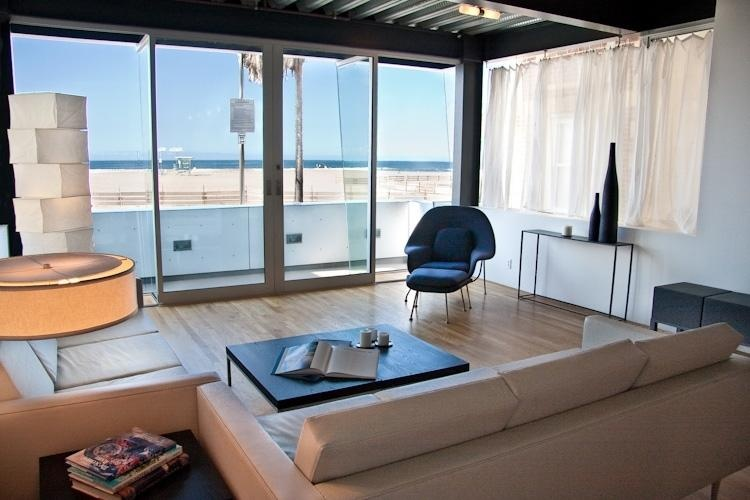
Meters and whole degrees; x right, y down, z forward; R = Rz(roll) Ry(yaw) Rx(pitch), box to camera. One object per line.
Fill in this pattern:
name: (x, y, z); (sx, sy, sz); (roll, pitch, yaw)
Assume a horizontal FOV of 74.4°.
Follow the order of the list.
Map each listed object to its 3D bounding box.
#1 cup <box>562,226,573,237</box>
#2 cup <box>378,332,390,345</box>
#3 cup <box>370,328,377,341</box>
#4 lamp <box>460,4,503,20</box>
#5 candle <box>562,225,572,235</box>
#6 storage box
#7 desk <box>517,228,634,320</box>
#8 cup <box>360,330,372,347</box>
cup: (2.246, -0.208, 5.766); (0.096, 0.128, 0.204); (8, 12, 14)
cup: (0.065, 0.674, 3.725); (0.086, 0.077, 0.087); (2, 8, 0)
cup: (-0.013, 0.656, 3.788); (0.071, 0.086, 0.093); (-1, 9, -7)
lamp: (1.047, -2.375, 4.926); (0.347, 0.088, 0.606); (8, 12, 18)
candle: (2.252, -0.225, 5.788); (0.106, 0.109, 0.105); (-1, 10, -3)
storage box: (-3.132, -0.721, 4.815); (0.652, 1.558, 0.490); (-5, 16, -34)
desk: (2.375, 0.301, 5.762); (0.223, 0.624, 1.025); (-6, 12, -33)
cup: (-0.064, 0.680, 3.755); (0.112, 0.117, 0.107); (1, 5, 0)
